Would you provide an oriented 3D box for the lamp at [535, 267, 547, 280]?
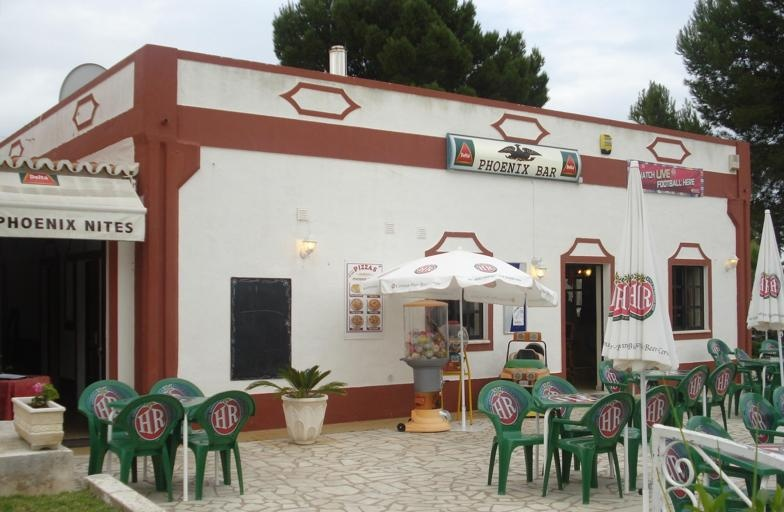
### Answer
[{"bbox_3d":[3.219,0.369,16.893,0.208,0.216,0.217,0,-5,-2],"label":"lamp"}]

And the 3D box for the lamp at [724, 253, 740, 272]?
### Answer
[{"bbox_3d":[8.506,0.186,19.605,0.436,0.399,0.157,-3,5,-35],"label":"lamp"}]

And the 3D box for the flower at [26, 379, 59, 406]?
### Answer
[{"bbox_3d":[-5.115,2.050,11.465,0.528,0.400,0.496,5,-4,-40],"label":"flower"}]

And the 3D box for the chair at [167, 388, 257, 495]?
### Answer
[{"bbox_3d":[-2.705,2.639,11.438,1.142,1.994,1.377,2,-4,-34],"label":"chair"}]

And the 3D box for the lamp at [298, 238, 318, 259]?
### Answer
[{"bbox_3d":[-1.638,-0.145,14.736,0.332,0.433,0.329,-3,-6,37],"label":"lamp"}]

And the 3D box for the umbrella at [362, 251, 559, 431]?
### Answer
[{"bbox_3d":[1.258,1.546,14.623,3.342,3.287,1.859,0,5,-2],"label":"umbrella"}]

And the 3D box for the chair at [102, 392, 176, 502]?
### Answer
[{"bbox_3d":[-3.492,2.652,11.007,1.123,1.543,0.850,2,5,17],"label":"chair"}]
